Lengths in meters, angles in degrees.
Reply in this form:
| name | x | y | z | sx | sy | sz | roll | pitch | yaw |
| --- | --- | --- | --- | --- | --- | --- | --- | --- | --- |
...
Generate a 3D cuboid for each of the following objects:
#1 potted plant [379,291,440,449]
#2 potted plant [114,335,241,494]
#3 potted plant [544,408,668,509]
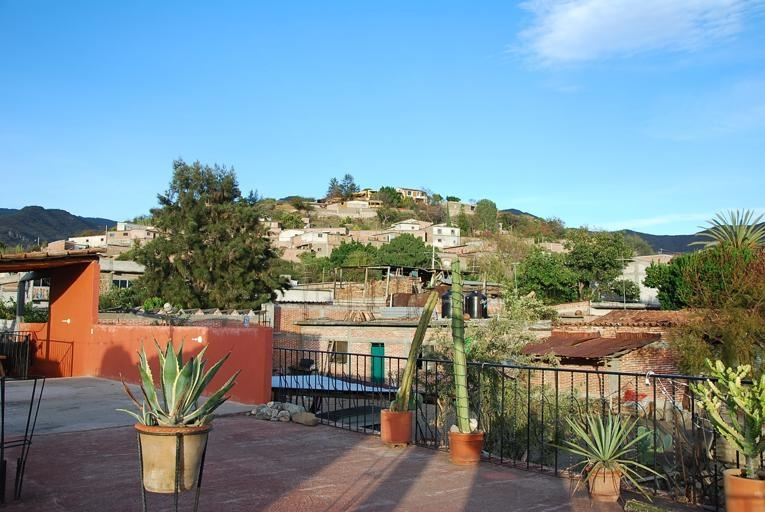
| name | x | y | z | sx | sy | sz | roll | pitch | yaw |
| --- | --- | --- | --- | --- | --- | --- | --- | --- | --- |
| potted plant | 0.451 | 1.796 | 10.920 | 0.830 | 2.494 | 1.986 | 2 | -7 | 5 |
| potted plant | -2.125 | 1.754 | 7.064 | 1.012 | 1.344 | 1.024 | 13 | -8 | -27 |
| potted plant | 2.884 | 2.591 | 8.349 | 1.044 | 0.947 | 1.251 | 11 | -27 | -6 |
